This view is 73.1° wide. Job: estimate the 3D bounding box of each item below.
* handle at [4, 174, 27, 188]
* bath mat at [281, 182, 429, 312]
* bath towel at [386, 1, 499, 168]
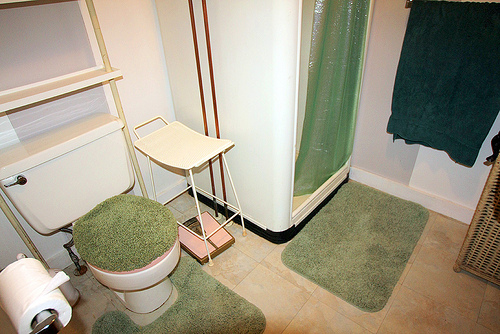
[{"bbox_3d":[-1.294,0.078,1.858,0.046,0.047,0.081,2,14,16],"label":"handle"},{"bbox_3d":[0.838,0.477,2.593,0.744,0.059,1.196,23,42,32],"label":"bath mat"},{"bbox_3d":[1.258,-0.533,2.172,0.635,0.922,0.318,17,41,24],"label":"bath towel"}]
